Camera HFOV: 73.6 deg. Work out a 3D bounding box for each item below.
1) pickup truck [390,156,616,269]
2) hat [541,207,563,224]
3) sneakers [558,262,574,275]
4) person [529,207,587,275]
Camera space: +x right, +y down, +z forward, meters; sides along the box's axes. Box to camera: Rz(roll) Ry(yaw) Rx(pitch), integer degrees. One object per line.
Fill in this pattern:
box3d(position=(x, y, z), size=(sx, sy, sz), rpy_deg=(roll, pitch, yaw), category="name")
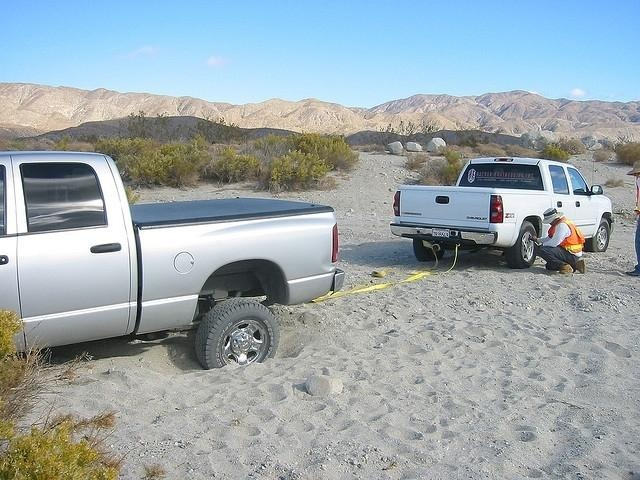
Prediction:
box3d(position=(5.086, -0.750, 10.514), size=(6.976, 2.486, 2.173), rpy_deg=(-6, 13, -33), category="pickup truck")
box3d(position=(4.921, -0.531, 8.984), size=(0.423, 0.206, 0.350), rpy_deg=(-31, 17, 1), category="hat")
box3d(position=(5.199, 0.609, 8.923), size=(0.272, 0.230, 0.170), rpy_deg=(-1, -1, -3), category="sneakers")
box3d(position=(5.156, 0.004, 9.107), size=(1.031, 1.351, 0.696), rpy_deg=(-4, 12, -24), category="person")
